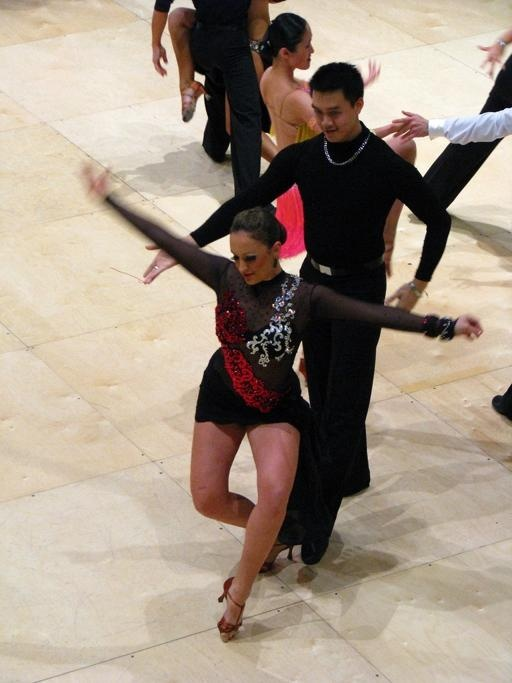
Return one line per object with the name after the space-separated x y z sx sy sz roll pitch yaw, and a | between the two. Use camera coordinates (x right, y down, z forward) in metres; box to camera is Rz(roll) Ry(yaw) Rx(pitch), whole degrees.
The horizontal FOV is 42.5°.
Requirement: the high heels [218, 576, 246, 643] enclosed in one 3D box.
-0.072 0.797 2.011 0.073 0.202 0.091 12 -14 -31 | high heels

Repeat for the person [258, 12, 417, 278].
0.533 -1.144 3.809 0.873 1.402 0.593 -15 35 5 | person

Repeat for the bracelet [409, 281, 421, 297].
0.572 -0.189 2.353 0.015 0.049 0.050 -35 72 -4 | bracelet

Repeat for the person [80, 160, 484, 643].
0.070 0.234 2.102 0.681 1.104 0.856 -10 34 -18 | person

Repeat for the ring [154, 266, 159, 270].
-0.322 -0.243 2.139 0.005 0.008 0.018 3 2 -27 | ring
